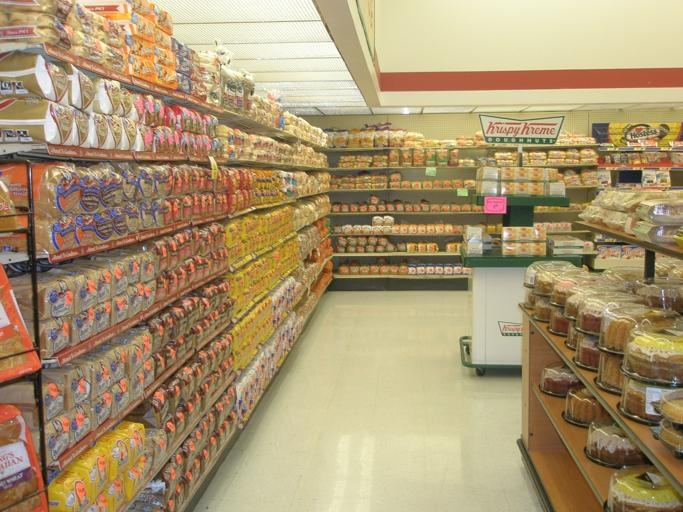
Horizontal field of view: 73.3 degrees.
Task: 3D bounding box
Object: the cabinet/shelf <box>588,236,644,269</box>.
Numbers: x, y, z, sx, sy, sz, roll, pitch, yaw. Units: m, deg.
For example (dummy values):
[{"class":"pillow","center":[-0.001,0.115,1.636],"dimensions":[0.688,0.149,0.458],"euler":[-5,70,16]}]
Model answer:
[{"class":"cabinet/shelf","center":[4.246,-0.016,7.151],"dimensions":[0.736,0.401,0.488],"euler":[1,5,12]}]
